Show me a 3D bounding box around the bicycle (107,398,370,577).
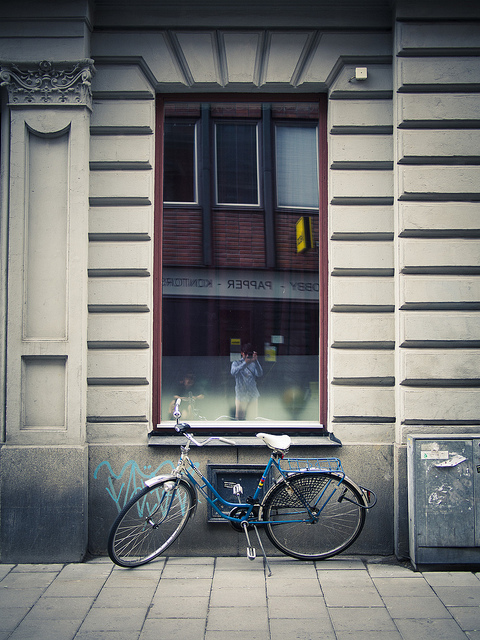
[{"bbox_3d":[0.028,1.308,7.086,1.919,1.411,1.036,1,3,-1],"label":"bicycle"}]
